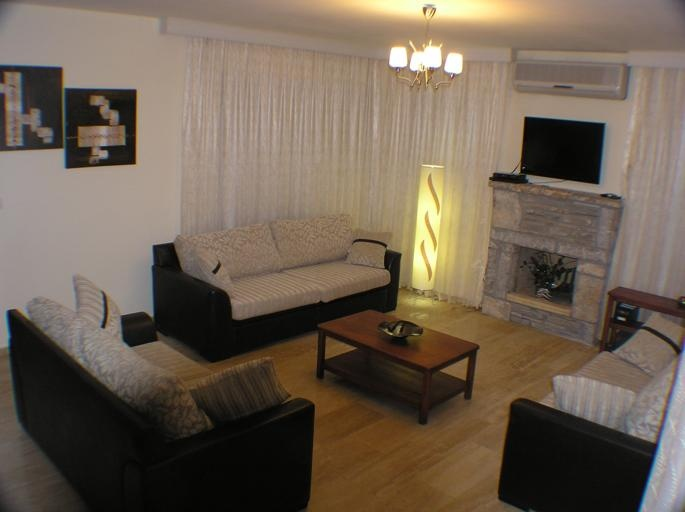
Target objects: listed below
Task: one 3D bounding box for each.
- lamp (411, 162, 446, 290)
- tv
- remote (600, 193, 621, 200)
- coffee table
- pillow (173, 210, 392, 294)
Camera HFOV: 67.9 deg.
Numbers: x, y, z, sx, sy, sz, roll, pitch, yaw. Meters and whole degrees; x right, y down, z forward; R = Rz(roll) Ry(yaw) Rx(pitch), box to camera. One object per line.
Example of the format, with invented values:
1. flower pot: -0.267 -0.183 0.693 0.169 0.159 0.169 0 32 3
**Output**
1. lamp: 1.102 -0.326 6.619 0.349 1.670 0.194 1 13 6
2. tv: 2.505 -1.227 5.871 0.862 0.730 0.041 9 16 35
3. remote: 2.930 -0.653 5.558 0.187 0.046 0.256 7 14 28
4. coffee table: 0.480 0.952 4.638 1.298 0.637 0.711 9 15 34
5. pillow: -0.949 -0.177 5.903 2.390 0.877 0.755 -14 30 -38
